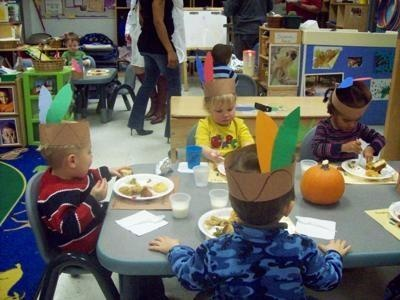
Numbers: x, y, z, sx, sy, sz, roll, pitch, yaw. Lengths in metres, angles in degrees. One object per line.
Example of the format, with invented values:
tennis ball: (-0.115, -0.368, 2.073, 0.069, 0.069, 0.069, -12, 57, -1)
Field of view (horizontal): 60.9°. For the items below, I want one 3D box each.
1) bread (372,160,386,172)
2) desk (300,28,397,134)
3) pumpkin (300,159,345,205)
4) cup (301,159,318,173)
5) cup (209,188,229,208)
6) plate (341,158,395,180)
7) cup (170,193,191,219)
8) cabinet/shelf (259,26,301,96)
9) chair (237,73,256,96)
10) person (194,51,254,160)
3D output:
bread: (0.974, 0.088, 1.839, 0.030, 0.037, 0.054, 22, 69, 9)
desk: (1.407, -0.655, 3.144, 1.034, 1.056, 0.569, 1, 19, 3)
pumpkin: (0.575, 0.139, 1.642, 0.189, 0.196, 0.196, -18, 26, -35)
cup: (0.600, 0.078, 1.870, 0.068, 0.061, 0.076, -2, 27, -4)
cup: (0.081, 0.216, 1.526, 0.073, 0.053, 0.075, 1, 41, -1)
plate: (0.880, 0.112, 1.849, 0.148, 0.022, 0.154, -1, 31, 0)
cup: (-0.090, 0.239, 1.467, 0.090, 0.076, 0.096, 0, 29, 0)
cabinet/shelf: (0.964, -1.048, 4.038, 0.255, 0.737, 0.751, 1, 25, 3)
chair: (0.532, -0.753, 3.969, 0.213, 0.256, 0.288, 1, -15, 15)
person: (0.106, -0.362, 2.419, 0.413, 0.754, 0.428, 6, 22, -8)
